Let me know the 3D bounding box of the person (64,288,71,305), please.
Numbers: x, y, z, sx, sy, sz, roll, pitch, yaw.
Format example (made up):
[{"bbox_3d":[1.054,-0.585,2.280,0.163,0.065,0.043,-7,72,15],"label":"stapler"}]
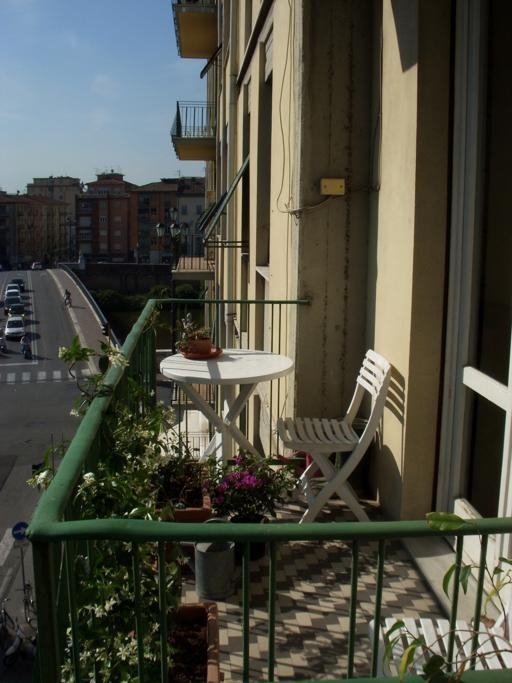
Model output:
[{"bbox_3d":[-17.608,-4.053,62.215,0.676,1.240,2.155,-2,6,-16],"label":"person"}]

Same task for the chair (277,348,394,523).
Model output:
[{"bbox_3d":[0.427,0.515,3.794,0.593,0.923,0.986,0,5,2],"label":"chair"}]

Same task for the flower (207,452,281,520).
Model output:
[{"bbox_3d":[-0.054,0.721,3.332,0.308,0.317,0.298,11,15,41],"label":"flower"}]

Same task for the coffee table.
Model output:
[{"bbox_3d":[-0.193,0.504,4.133,0.575,0.731,0.629,0,9,24],"label":"coffee table"}]

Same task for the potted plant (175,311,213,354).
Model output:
[{"bbox_3d":[-0.399,-0.020,4.337,0.157,0.309,0.194,-15,-22,19],"label":"potted plant"}]
